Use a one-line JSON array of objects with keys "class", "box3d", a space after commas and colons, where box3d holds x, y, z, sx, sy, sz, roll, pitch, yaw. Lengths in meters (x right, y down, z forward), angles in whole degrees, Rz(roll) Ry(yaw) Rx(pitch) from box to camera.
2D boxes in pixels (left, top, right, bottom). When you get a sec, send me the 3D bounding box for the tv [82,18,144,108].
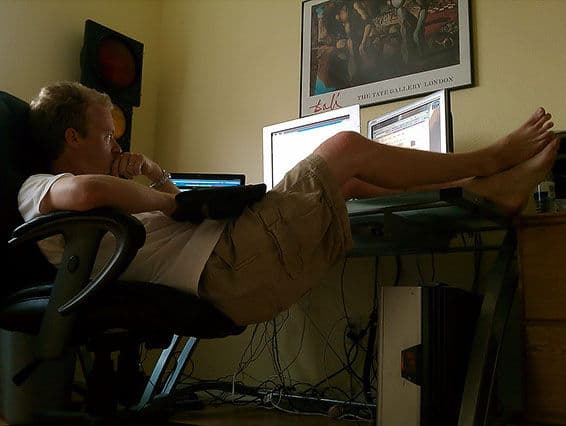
[{"class": "tv", "box3d": [-1.004, -0.841, 3.159, 0.344, 0.423, 0.207, 12, -22, -37]}]
